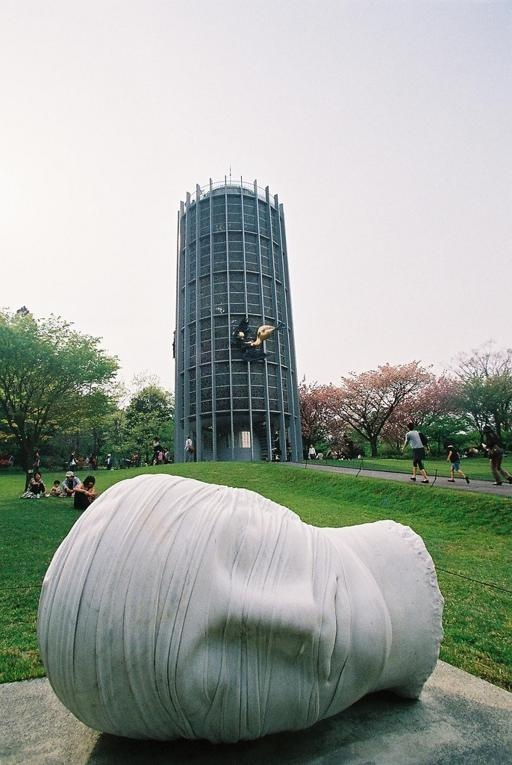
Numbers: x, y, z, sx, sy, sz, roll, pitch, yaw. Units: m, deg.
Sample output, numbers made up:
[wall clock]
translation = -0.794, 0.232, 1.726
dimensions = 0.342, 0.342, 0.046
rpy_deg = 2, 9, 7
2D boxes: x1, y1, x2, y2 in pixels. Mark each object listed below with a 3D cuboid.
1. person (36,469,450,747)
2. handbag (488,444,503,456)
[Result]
[person]
translation = -0.047, 1.151, 2.523
dimensions = 1.876, 1.249, 0.678
rpy_deg = 6, -6, -27
[handbag]
translation = 5.501, 1.611, 11.943
dimensions = 0.241, 0.266, 0.200
rpy_deg = 27, 8, 34
